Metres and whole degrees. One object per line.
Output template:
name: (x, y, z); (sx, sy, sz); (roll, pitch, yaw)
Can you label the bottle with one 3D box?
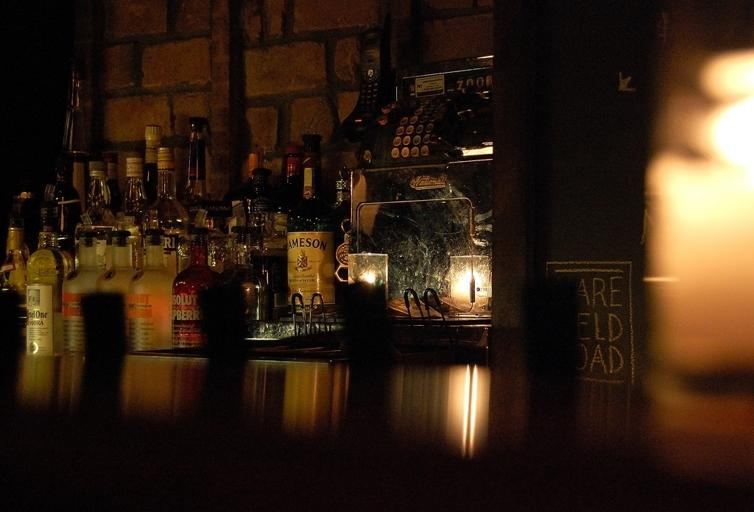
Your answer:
bottle: (-0.393, -0.016, 1.333); (0.367, 0.258, 0.361); (-1, 0, 0)
